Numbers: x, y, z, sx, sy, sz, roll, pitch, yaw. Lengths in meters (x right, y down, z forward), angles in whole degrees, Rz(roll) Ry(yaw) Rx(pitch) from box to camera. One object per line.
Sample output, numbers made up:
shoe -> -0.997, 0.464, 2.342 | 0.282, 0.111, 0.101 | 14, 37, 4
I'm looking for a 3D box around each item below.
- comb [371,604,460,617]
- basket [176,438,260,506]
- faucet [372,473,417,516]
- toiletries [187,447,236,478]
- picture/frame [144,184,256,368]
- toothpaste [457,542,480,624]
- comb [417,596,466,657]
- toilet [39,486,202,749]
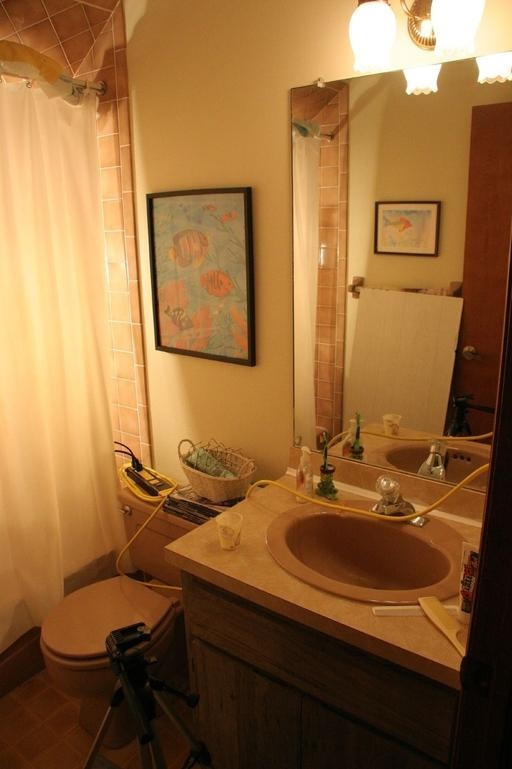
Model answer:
comb -> 0.256, 0.407, 1.053 | 0.111, 0.008, 0.016 | -4, 15, -11
basket -> -0.122, 0.259, 1.761 | 0.265, 0.146, 0.170 | 14, 21, 40
faucet -> 0.330, 0.251, 1.383 | 0.078, 0.093, 0.095 | -10, 2, 17
toiletries -> -0.131, 0.240, 1.780 | 0.129, 0.080, 0.035 | 14, 62, 51
picture/frame -> -0.180, -0.335, 1.823 | 0.454, 0.517, 0.043 | 11, 19, 40
toothpaste -> 0.371, 0.340, 1.027 | 0.024, 0.144, 0.099 | 3, 15, 19
comb -> 0.333, 0.413, 1.011 | 0.056, 0.019, 0.157 | -4, 15, -9
toilet -> -0.423, 0.658, 1.752 | 0.491, 0.634, 0.547 | -8, 18, -33
